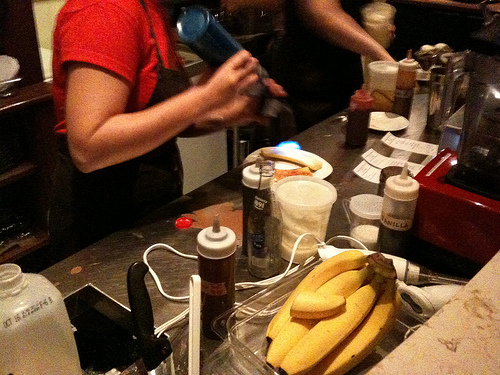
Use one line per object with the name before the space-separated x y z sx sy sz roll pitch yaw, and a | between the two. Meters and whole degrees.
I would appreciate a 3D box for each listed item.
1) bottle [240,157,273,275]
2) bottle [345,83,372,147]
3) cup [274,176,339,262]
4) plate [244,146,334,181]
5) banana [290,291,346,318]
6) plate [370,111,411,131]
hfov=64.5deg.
bottle | 0.032 0.092 1.151 0.080 0.335 0.162 -5 33 -11
bottle | 0.525 -0.326 1.898 0.118 0.250 0.150 11 33 13
cup | 0.139 0.114 1.302 0.252 0.245 0.236 -1 34 1
plate | 0.189 -0.077 1.722 0.253 0.032 0.204 7 35 6
banana | 0.148 0.257 0.867 0.125 0.046 0.064 -2 9 7
plate | 0.732 -0.368 2.086 0.170 0.026 0.152 -2 28 -5
